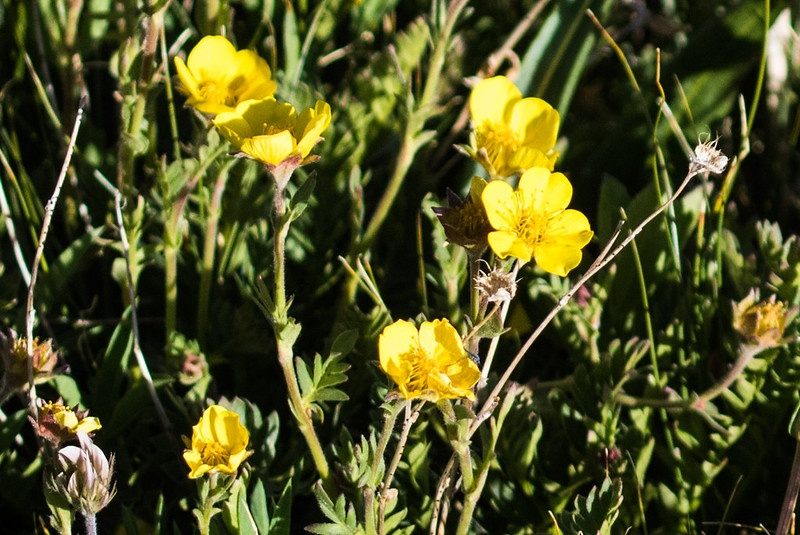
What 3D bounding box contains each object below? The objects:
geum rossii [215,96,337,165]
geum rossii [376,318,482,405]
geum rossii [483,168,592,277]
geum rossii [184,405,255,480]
[{"bbox_3d":[-0.098,-0.107,0.681,0.060,0.046,0.063,1,28,-7],"label":"geum rossii"},{"bbox_3d":[0.020,0.074,0.664,0.070,0.036,0.075,-3,6,-12],"label":"geum rossii"},{"bbox_3d":[0.100,-0.045,0.697,0.084,0.039,0.084,4,-18,-36],"label":"geum rossii"},{"bbox_3d":[-0.141,0.135,0.676,0.038,0.064,0.027,-7,-22,2],"label":"geum rossii"}]
